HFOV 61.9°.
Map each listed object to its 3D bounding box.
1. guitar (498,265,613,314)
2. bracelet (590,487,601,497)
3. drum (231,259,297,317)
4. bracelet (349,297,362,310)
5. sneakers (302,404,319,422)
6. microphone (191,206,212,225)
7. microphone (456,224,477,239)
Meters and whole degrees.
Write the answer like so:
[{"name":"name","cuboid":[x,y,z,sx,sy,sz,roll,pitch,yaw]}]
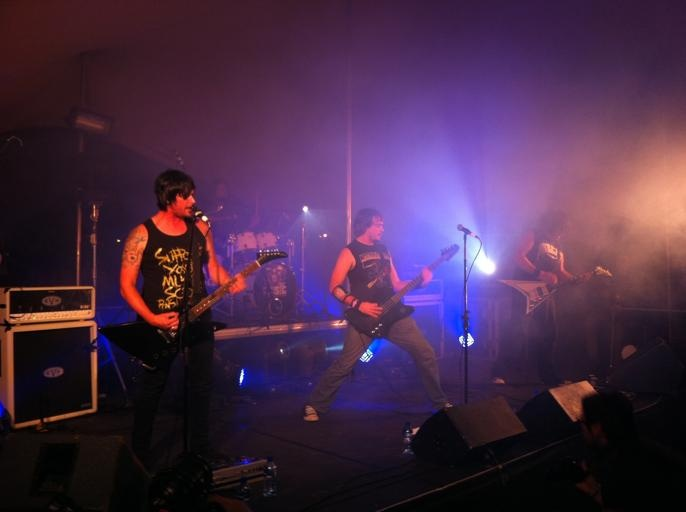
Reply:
[{"name":"guitar","cuboid":[3.060,0.432,8.313,1.176,0.755,1.247,-16,9,16]},{"name":"bracelet","cuboid":[2.479,2.303,5.596,0.013,0.053,0.050,46,-18,-28]},{"name":"drum","cuboid":[-1.049,0.602,8.976,0.717,1.083,0.344,8,8,2]},{"name":"bracelet","cuboid":[0.181,0.571,6.933,0.106,0.117,0.027,-8,-38,6]},{"name":"sneakers","cuboid":[-0.347,1.907,6.942,0.196,0.183,0.164,-1,7,-5]},{"name":"microphone","cuboid":[-1.389,-0.412,5.717,0.150,0.176,0.417,-2,8,-14]},{"name":"microphone","cuboid":[1.932,-0.387,8.897,0.458,0.142,0.098,34,13,-42]}]
